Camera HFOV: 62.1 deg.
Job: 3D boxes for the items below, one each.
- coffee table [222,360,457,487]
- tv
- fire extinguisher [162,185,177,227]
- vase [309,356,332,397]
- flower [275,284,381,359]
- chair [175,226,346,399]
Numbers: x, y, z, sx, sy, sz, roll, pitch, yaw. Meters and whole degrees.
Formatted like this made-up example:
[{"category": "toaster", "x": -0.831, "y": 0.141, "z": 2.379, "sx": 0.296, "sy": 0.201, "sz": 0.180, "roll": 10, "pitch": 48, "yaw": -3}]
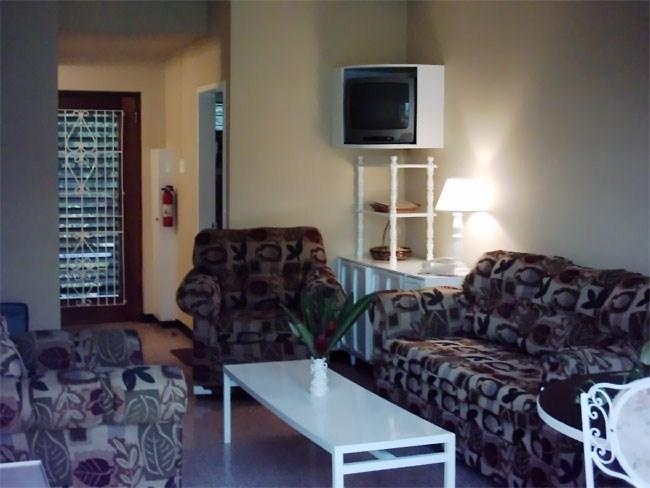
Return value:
[{"category": "coffee table", "x": 0.005, "y": 0.912, "z": 2.757, "sx": 0.558, "sy": 0.296, "sz": 1.264, "roll": -3, "pitch": 4, "yaw": -32}, {"category": "tv", "x": 0.464, "y": -1.103, "z": 4.929, "sx": 0.817, "sy": 0.847, "sz": 0.593, "roll": 0, "pitch": 1, "yaw": 9}, {"category": "fire extinguisher", "x": -1.765, "y": -0.422, "z": 6.093, "sx": 0.171, "sy": 0.474, "sz": 0.148, "roll": -1, "pitch": 3, "yaw": -14}, {"category": "vase", "x": -0.034, "y": 0.699, "z": 2.864, "sx": 0.110, "sy": 0.193, "sz": 0.109, "roll": -2, "pitch": -3, "yaw": -3}, {"category": "flower", "x": 0.036, "y": 0.433, "z": 3.112, "sx": 0.625, "sy": 0.436, "sz": 0.597, "roll": -2, "pitch": -2, "yaw": 34}, {"category": "chair", "x": -0.484, "y": 0.415, "z": 4.710, "sx": 1.497, "sy": 1.476, "sz": 1.167, "roll": 0, "pitch": -7, "yaw": -7}]
